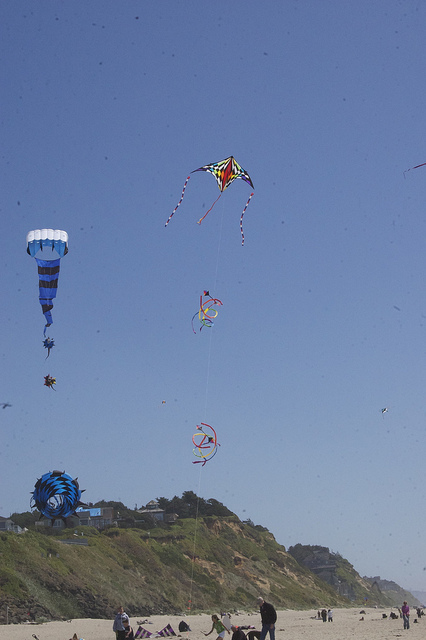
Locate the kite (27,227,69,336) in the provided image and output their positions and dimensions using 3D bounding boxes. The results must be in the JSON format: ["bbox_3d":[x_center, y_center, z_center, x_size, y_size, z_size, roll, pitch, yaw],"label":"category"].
[{"bbox_3d":[-8.056,-1.997,51.385,1.937,4.862,1.658,-4,-7,16],"label":"kite"}]

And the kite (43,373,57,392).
[{"bbox_3d":[-7.229,2.767,46.673,0.357,0.670,1.147,8,-19,-15],"label":"kite"}]

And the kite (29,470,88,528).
[{"bbox_3d":[-7.232,7.825,47.866,2.759,0.965,3.004,18,17,8],"label":"kite"}]

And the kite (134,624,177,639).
[{"bbox_3d":[-2.637,14.321,48.118,1.745,0.706,1.656,3,-19,-2],"label":"kite"}]
